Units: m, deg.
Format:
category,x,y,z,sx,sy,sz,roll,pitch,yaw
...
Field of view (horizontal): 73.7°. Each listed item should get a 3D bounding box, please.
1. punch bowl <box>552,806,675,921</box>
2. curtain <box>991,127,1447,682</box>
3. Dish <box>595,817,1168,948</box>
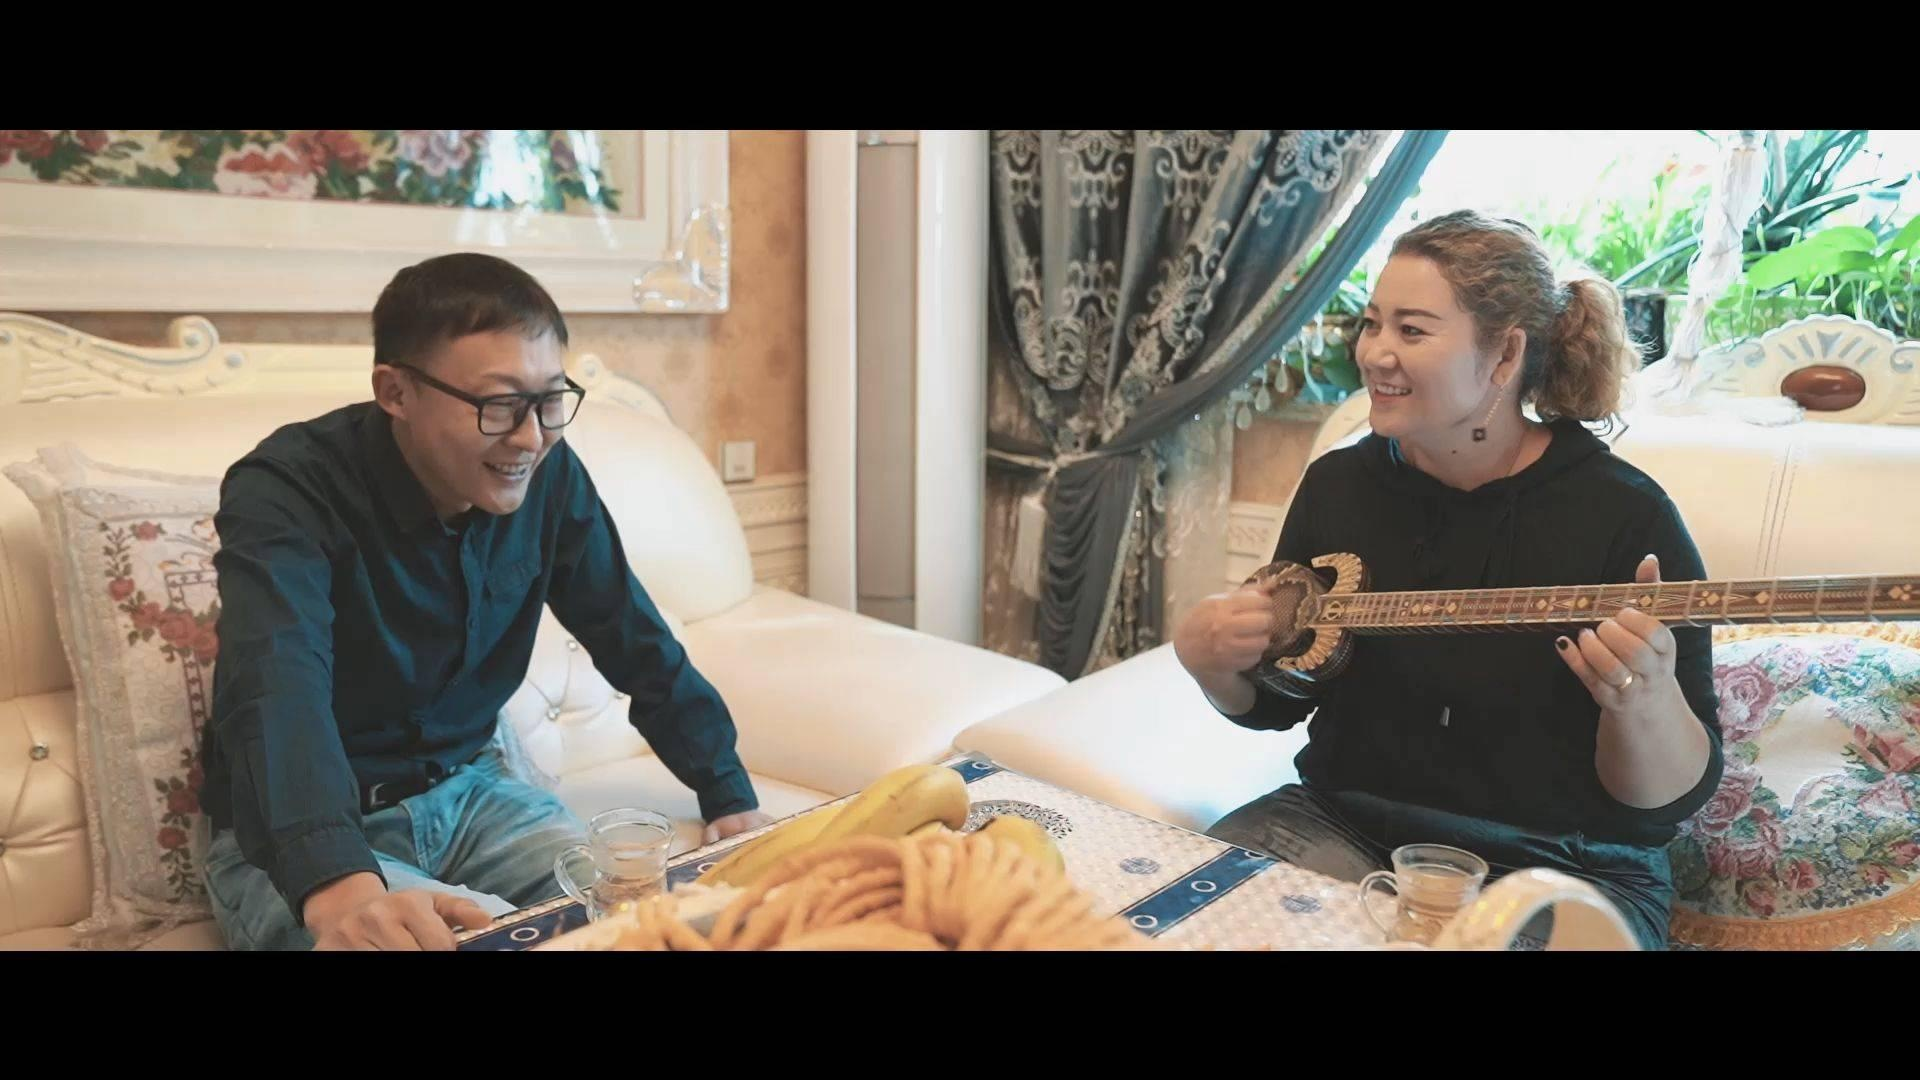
category,x,y,z,sx,sy,sz,roll,pitch,yaw
punch bowl,-0.619,0.567,2.293,0.228,0.182,0.137,-3,14,-25
curtain,0.502,-0.274,2.323,1.166,1.110,0.158,4,4,17
Dish,-0.113,0.625,2.210,0.584,0.167,0.347,7,-8,-23
